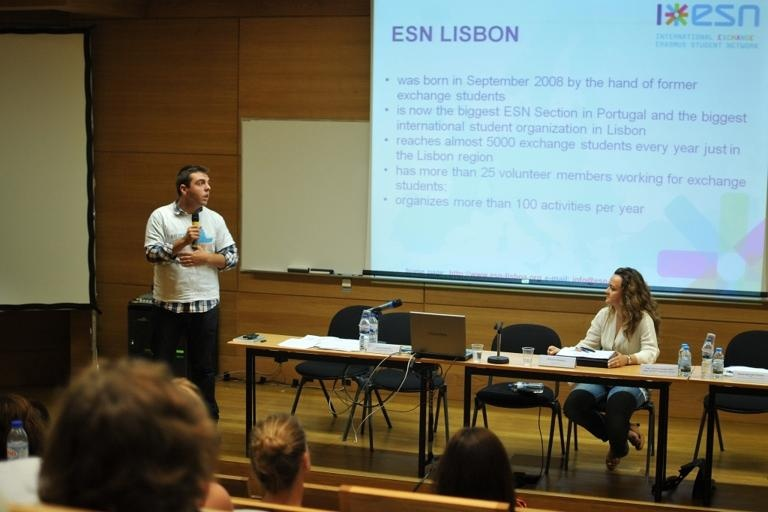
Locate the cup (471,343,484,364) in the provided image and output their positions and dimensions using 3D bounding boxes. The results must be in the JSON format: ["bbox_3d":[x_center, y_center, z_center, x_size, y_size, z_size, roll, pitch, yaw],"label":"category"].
[{"bbox_3d":[0.649,0.686,4.558,0.106,0.116,0.106,1,6,0],"label":"cup"}]

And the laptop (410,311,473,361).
[{"bbox_3d":[0.408,0.493,4.596,0.407,0.353,0.318,3,6,18],"label":"laptop"}]

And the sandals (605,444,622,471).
[{"bbox_3d":[1.672,1.501,4.754,0.090,0.253,0.068,8,24,34],"label":"sandals"}]

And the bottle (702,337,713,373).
[{"bbox_3d":[2.170,0.648,4.346,0.062,0.256,0.138,3,5,24],"label":"bottle"}]

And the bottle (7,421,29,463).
[{"bbox_3d":[-1.846,0.918,3.273,0.095,0.188,0.055,-2,5,-28],"label":"bottle"}]

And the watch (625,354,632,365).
[{"bbox_3d":[1.704,0.725,4.510,0.042,0.065,0.060,1,0,-13],"label":"watch"}]

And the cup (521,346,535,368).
[{"bbox_3d":[0.991,0.706,4.538,0.115,0.128,0.105,0,3,0],"label":"cup"}]

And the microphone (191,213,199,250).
[{"bbox_3d":[-1.445,-0.195,4.988,0.055,0.286,0.256,0,5,-15],"label":"microphone"}]

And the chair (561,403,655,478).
[{"bbox_3d":[1.744,1.382,4.953,0.675,0.551,0.608,-2,-7,26],"label":"chair"}]

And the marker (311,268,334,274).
[{"bbox_3d":[-0.588,0.148,6.313,0.197,0.060,0.035,7,1,9],"label":"marker"}]

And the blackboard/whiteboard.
[{"bbox_3d":[-0.732,-0.594,6.307,1.517,1.724,0.120,2,-1,6],"label":"blackboard/whiteboard"}]

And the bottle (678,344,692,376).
[{"bbox_3d":[2.017,0.685,4.342,0.083,0.191,0.210,3,5,26],"label":"bottle"}]
